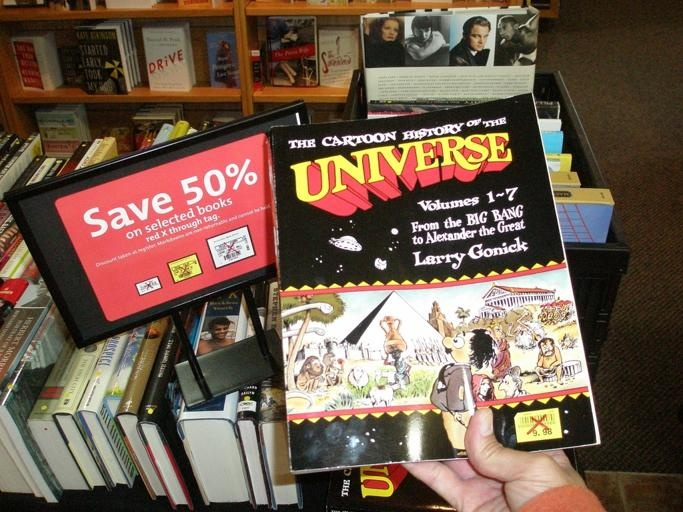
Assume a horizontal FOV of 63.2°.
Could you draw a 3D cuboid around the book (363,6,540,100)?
[{"bbox_3d":[0.375,-0.684,1.894,0.764,0.265,0.108,-2,9,-1],"label":"book"}]
